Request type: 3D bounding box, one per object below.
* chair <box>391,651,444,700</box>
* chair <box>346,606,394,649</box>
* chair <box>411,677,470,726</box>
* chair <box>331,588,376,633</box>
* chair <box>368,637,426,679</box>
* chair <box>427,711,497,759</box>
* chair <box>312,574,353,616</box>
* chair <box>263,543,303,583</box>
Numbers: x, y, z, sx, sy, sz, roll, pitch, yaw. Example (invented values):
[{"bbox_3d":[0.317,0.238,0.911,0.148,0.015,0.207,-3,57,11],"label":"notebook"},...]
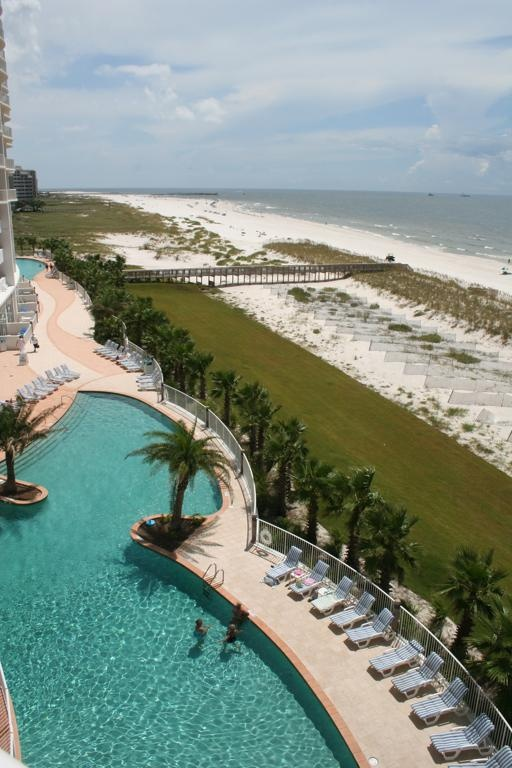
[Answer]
[{"bbox_3d":[3.670,6.609,12.466,1.298,0.834,0.679,-14,13,-17],"label":"chair"},{"bbox_3d":[2.913,6.286,14.139,1.236,0.705,0.684,-11,18,-10],"label":"chair"},{"bbox_3d":[3.890,6.723,11.837,1.277,0.777,0.664,-4,8,-13],"label":"chair"},{"bbox_3d":[2.575,6.051,14.812,1.283,0.818,0.694,-5,10,-24],"label":"chair"},{"bbox_3d":[3.396,6.678,13.187,1.258,0.548,0.653,-16,15,-10],"label":"chair"},{"bbox_3d":[4.066,7.005,10.949,1.271,0.655,0.671,-7,7,-3],"label":"chair"},{"bbox_3d":[2.061,5.868,15.530,1.226,0.785,0.663,-7,12,-31],"label":"chair"},{"bbox_3d":[0.849,5.453,16.628,1.232,0.780,0.647,-9,12,-38],"label":"chair"}]
